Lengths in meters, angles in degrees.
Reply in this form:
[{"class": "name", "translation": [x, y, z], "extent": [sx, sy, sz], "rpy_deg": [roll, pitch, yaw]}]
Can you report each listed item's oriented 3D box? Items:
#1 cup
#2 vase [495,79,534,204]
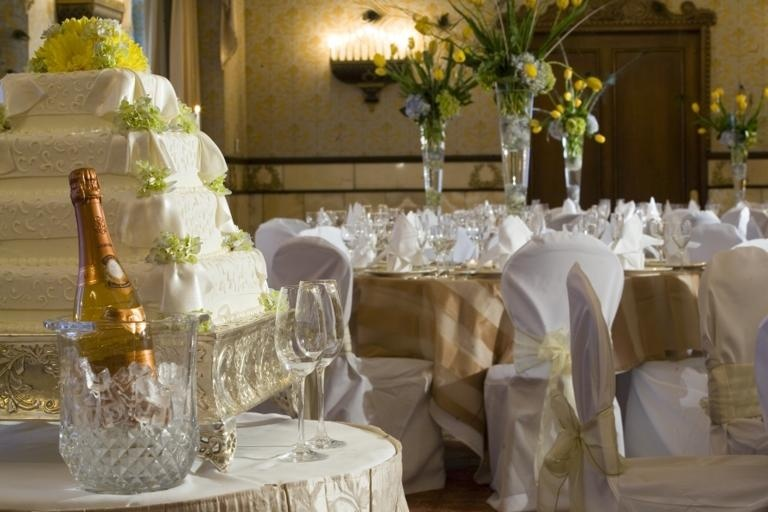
[{"class": "cup", "translation": [-0.477, 0.278, 1.557], "extent": [0.283, 0.335, 0.272], "rpy_deg": [2, 1, 0]}, {"class": "vase", "translation": [0.629, -0.536, 3.883], "extent": [0.169, 0.584, 0.289], "rpy_deg": [-2, 11, 8]}]
